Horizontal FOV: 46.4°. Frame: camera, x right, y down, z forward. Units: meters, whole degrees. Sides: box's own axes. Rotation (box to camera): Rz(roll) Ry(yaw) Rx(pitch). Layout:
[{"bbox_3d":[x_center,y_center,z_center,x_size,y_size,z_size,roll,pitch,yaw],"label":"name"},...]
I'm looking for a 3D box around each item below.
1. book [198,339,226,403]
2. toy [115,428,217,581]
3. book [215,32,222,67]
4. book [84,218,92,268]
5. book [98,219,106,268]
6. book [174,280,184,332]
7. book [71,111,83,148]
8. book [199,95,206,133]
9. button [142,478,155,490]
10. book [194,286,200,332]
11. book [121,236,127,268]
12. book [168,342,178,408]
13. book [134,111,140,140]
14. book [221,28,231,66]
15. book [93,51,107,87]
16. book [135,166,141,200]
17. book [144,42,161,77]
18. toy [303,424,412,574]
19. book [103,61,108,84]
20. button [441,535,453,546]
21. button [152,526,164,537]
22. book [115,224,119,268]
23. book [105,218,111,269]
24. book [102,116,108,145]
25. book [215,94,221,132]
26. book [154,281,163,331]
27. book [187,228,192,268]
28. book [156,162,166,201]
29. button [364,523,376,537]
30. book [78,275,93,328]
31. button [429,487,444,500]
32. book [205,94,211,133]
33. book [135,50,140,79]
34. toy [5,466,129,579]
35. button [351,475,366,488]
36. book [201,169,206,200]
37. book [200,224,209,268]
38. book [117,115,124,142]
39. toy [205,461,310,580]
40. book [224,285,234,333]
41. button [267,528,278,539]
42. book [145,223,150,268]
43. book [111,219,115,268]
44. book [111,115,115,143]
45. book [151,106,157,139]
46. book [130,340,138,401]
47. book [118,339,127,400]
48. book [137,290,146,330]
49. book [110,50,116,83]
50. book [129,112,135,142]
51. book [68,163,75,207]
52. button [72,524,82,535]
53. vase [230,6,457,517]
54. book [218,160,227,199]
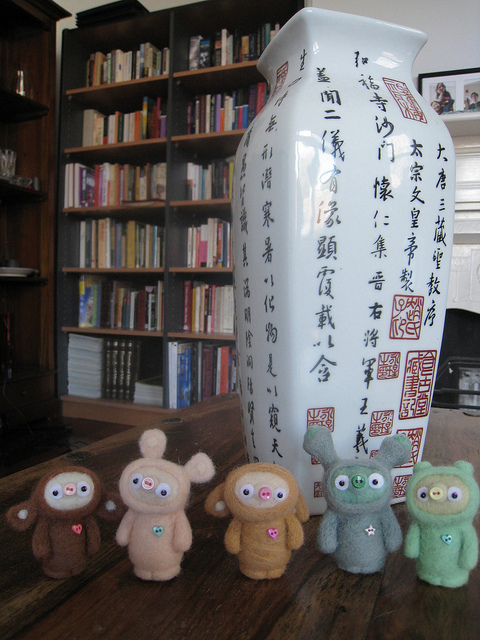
[{"bbox_3d":[-0.108,0.193,2.066,0.126,0.205,0.225,0,-7,5],"label":"book"},{"bbox_3d":[-0.058,0.148,0.436,0.098,0.140,0.057,0,-9,1],"label":"toy"},{"bbox_3d":[-0.084,-1.043,2.152,0.026,0.137,0.063,0,7,-3],"label":"book"},{"bbox_3d":[-0.672,-0.342,2.478,0.057,0.207,0.024,5,8,34],"label":"book"},{"bbox_3d":[-0.604,-0.334,2.436,0.020,0.201,0.062,-4,9,-37],"label":"book"},{"bbox_3d":[-0.247,-0.058,2.275,0.021,0.211,0.092,2,7,11],"label":"book"},{"bbox_3d":[-0.721,-0.852,2.488,0.017,0.165,0.077,3,7,18],"label":"book"},{"bbox_3d":[-0.148,-0.806,2.193,0.024,0.144,0.061,0,7,-7],"label":"book"},{"bbox_3d":[-0.064,0.115,0.393,0.008,0.008,0.002,0,7,-9],"label":"button"},{"bbox_3d":[-0.175,-0.044,2.272,0.011,0.180,0.031,-5,9,-42],"label":"book"},{"bbox_3d":[-0.493,-0.292,2.380,0.025,0.129,0.039,-1,7,-12],"label":"book"},{"bbox_3d":[-0.263,0.218,2.208,0.035,0.259,0.022,1,7,6],"label":"book"},{"bbox_3d":[-0.423,-0.802,2.311,0.031,0.112,0.012,7,9,41],"label":"book"},{"bbox_3d":[-0.057,-1.034,2.132,0.028,0.133,0.063,2,7,14],"label":"book"},{"bbox_3d":[-0.614,-1.094,2.427,0.035,0.138,0.137,5,7,-11],"label":"book"},{"bbox_3d":[-0.434,-0.581,2.378,0.025,0.136,0.032,-1,7,-11],"label":"book"},{"bbox_3d":[-0.373,-1.070,2.307,0.036,0.153,0.084,3,7,21],"label":"book"},{"bbox_3d":[0.088,0.143,0.439,0.106,0.134,0.057,0,-8,-1],"label":"toy"},{"bbox_3d":[-0.581,-1.064,2.412,0.017,0.069,0.071,0,11,-23],"label":"book"},{"bbox_3d":[0.148,0.158,0.402,0.009,0.001,0.009,-1,45,2],"label":"button"},{"bbox_3d":[-0.059,0.151,0.401,0.008,0.007,0.001,2,-36,-11],"label":"button"},{"bbox_3d":[-0.528,-0.319,2.400,0.018,0.181,0.036,-1,7,-13],"label":"book"},{"bbox_3d":[-0.569,-0.333,2.415,0.028,0.207,0.030,-1,7,-17],"label":"book"},{"bbox_3d":[-0.583,-0.826,2.436,0.029,0.111,0.028,3,7,17],"label":"book"},{"bbox_3d":[-0.085,-0.796,2.153,0.022,0.135,0.025,1,7,-1],"label":"book"},{"bbox_3d":[-0.337,-0.059,2.312,0.034,0.200,0.063,0,7,-10],"label":"book"},{"bbox_3d":[-0.207,-0.300,2.292,0.015,0.153,0.033,-3,8,-28],"label":"book"},{"bbox_3d":[-0.323,-0.568,2.288,0.034,0.152,0.084,-1,7,-13],"label":"book"},{"bbox_3d":[0.095,0.155,0.413,0.011,0.010,0.001,3,1,-4],"label":"button"},{"bbox_3d":[-0.688,-0.088,2.499,0.064,0.228,0.117,-1,7,-16],"label":"book"},{"bbox_3d":[0.139,0.123,0.400,0.008,0.007,0.008,-13,16,-43],"label":"button"},{"bbox_3d":[-0.126,-0.803,2.174,0.021,0.148,0.041,1,7,2],"label":"book"},{"bbox_3d":[-0.425,-1.058,2.313,0.019,0.112,0.029,0,7,-9],"label":"book"},{"bbox_3d":[-0.128,0.156,0.420,0.078,0.071,0.030,2,-14,-19],"label":"toy"},{"bbox_3d":[0.085,0.116,0.402,0.010,0.009,0.003,0,7,-8],"label":"button"},{"bbox_3d":[-0.147,-0.545,2.244,0.017,0.117,0.040,1,7,5],"label":"book"},{"bbox_3d":[-0.146,-0.300,2.245,0.028,0.162,0.044,-4,8,-36],"label":"book"},{"bbox_3d":[-0.503,-0.806,2.359,0.021,0.085,0.088,2,14,-12],"label":"book"},{"bbox_3d":[0.014,0.148,0.413,0.079,0.084,0.041,1,4,-6],"label":"toy"},{"bbox_3d":[-0.043,-0.043,2.175,0.059,0.161,0.171,-1,7,-1],"label":"book"},{"bbox_3d":[0.023,0.153,0.402,0.008,0.007,0.002,-2,7,-19],"label":"button"},{"bbox_3d":[-0.388,-0.309,2.339,0.019,0.171,0.040,-1,7,-11],"label":"book"},{"bbox_3d":[-0.550,-0.332,2.421,0.018,0.201,0.058,-1,7,-15],"label":"book"},{"bbox_3d":[-0.541,-0.817,2.391,0.009,0.110,0.028,-4,8,-33],"label":"book"},{"bbox_3d":[-0.353,-0.812,2.297,0.024,0.137,0.066,0,7,-8],"label":"book"},{"bbox_3d":[-0.453,0.215,2.383,0.026,0.251,0.045,1,7,3],"label":"book"},{"bbox_3d":[-0.499,0.213,2.388,0.046,0.250,0.015,3,7,18],"label":"book"},{"bbox_3d":[-0.415,-0.041,2.353,0.031,0.125,0.129,4,3,-9],"label":"book"},{"bbox_3d":[-0.537,-1.076,2.373,0.011,0.125,0.047,-5,9,-39],"label":"book"},{"bbox_3d":[-0.449,-0.803,2.327,0.015,0.111,0.031,-3,8,-30],"label":"book"},{"bbox_3d":[-0.736,-0.588,2.444,0.041,0.180,0.014,3,7,15],"label":"book"},{"bbox_3d":[-0.120,0.153,0.411,0.001,0.008,0.009,-18,-13,36],"label":"button"},{"bbox_3d":[0.094,-0.095,0.957,0.426,0.881,0.414,0,4,-9],"label":"vase"},{"bbox_3d":[-0.071,-0.553,2.195,0.038,0.139,0.024,2,7,11],"label":"book"}]
